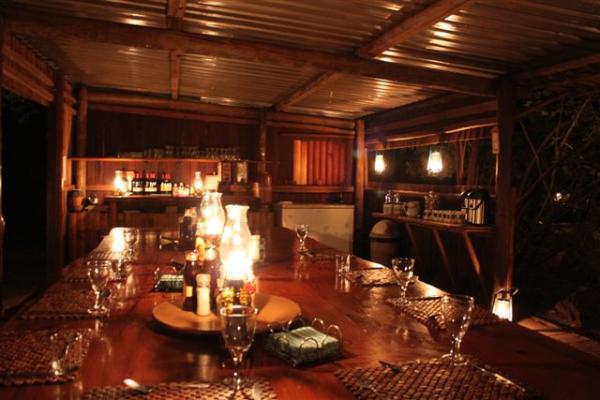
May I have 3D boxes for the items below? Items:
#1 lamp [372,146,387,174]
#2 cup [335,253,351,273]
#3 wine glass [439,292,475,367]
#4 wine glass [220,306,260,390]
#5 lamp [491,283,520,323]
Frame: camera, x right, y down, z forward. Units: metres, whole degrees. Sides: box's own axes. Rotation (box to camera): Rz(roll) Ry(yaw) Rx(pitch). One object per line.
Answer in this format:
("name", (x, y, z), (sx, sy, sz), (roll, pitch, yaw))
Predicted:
("lamp", (1.467, -0.692, 8.331), (0.221, 0.441, 0.600), (1, 4, 9))
("cup", (0.342, 0.495, 3.546), (0.126, 0.125, 0.114), (0, -3, -4))
("wine glass", (0.831, 0.657, 2.409), (0.144, 0.308, 0.302), (2, 4, 21))
("wine glass", (-0.311, 0.688, 2.228), (0.161, 0.376, 0.233), (-1, 4, -17))
("lamp", (1.809, 0.944, 4.035), (0.157, 0.345, 0.150), (-3, 7, -24))
